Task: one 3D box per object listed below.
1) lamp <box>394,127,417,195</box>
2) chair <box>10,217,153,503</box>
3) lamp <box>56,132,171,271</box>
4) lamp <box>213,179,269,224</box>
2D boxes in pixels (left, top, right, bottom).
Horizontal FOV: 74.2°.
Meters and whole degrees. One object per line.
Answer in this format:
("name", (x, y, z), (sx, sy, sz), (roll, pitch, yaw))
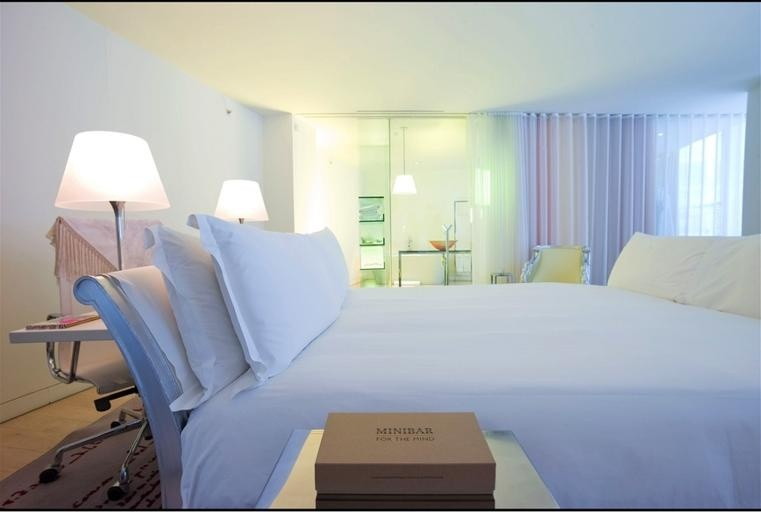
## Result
("lamp", (0.286, -1.141, 6.059), (0.289, 0.813, 0.105), (-2, 8, 5))
("chair", (-1.730, 0.659, 3.600), (0.965, 1.642, 1.109), (10, 3, 22))
("lamp", (-1.542, -0.319, 2.919), (0.548, 0.760, 0.478), (-5, 8, -22))
("lamp", (-1.154, -0.426, 4.233), (0.435, 0.461, 0.423), (2, 19, -15))
